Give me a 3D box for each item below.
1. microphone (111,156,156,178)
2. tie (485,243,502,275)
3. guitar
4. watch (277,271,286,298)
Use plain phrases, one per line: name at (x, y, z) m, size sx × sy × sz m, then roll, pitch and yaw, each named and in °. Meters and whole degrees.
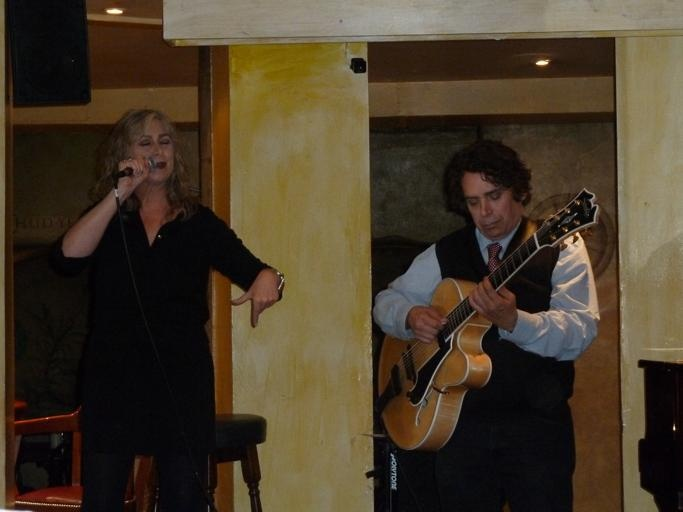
microphone at (-0.784, -0.339, 3.773) m, size 0.117 × 0.040 × 0.039 m, roll -25°, pitch -21°, yaw -40°
tie at (0.652, 0.010, 4.244) m, size 0.022 × 0.116 × 0.061 m, roll 4°, pitch -3°, yaw -41°
guitar at (0.702, 0.394, 4.221) m, size 0.184 × 0.735 × 1.413 m, roll 9°, pitch -45°, yaw -27°
watch at (-0.235, 0.109, 3.939) m, size 0.026 × 0.073 × 0.089 m, roll 2°, pitch 27°, yaw 6°
